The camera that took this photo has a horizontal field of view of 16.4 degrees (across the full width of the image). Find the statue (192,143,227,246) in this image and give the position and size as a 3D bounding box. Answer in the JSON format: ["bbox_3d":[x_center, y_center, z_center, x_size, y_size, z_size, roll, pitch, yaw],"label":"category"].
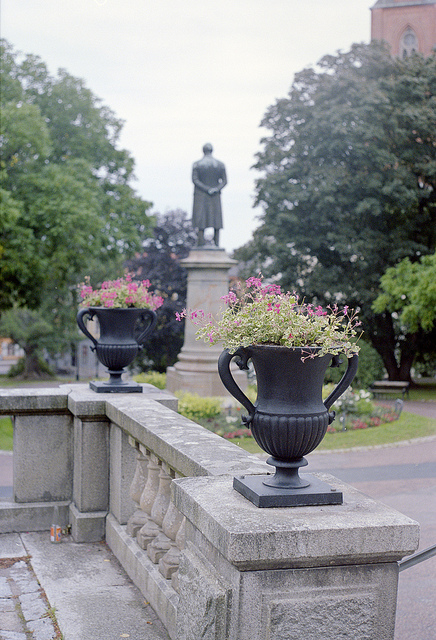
[{"bbox_3d":[-0.124,-1.949,22.795,0.480,1.584,0.451,-6,24,-17],"label":"statue"}]

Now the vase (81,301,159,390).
[{"bbox_3d":[-0.794,0.200,12.282,0.674,0.779,0.569,-7,-14,25],"label":"vase"}]
